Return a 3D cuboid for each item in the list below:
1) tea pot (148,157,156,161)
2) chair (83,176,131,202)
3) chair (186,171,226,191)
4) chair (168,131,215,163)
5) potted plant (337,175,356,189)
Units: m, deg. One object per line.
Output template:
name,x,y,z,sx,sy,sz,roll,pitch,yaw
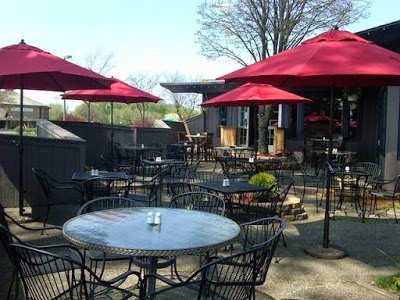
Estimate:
tea pot,-1.192,0.228,10.152,0.206,0.068,0.219,0,-1,0
chair,-1.449,0.612,6.334,0.519,0.591,0.464,0,12,-7
chair,0.130,0.613,8.497,0.743,0.692,0.566,0,0,-23
chair,-0.286,-0.118,15.883,1.202,0.991,1.917,-1,-2,33
potted plant,2.771,0.609,7.673,0.525,0.257,0.394,0,4,17
